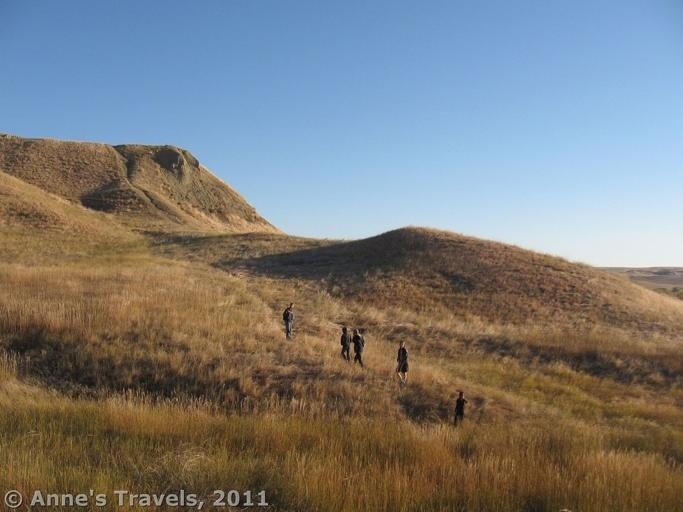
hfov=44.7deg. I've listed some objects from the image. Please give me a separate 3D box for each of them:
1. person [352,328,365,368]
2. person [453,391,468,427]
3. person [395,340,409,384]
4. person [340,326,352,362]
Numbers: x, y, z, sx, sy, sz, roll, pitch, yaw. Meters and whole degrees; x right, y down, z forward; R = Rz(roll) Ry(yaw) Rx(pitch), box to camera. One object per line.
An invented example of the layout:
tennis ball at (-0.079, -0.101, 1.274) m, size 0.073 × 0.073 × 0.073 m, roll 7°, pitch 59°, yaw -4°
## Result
person at (0.872, 4.417, 41.084) m, size 0.648 × 1.529 × 1.140 m, roll 4°, pitch 2°, yaw 1°
person at (5.498, 6.925, 38.283) m, size 0.496 × 1.409 × 0.938 m, roll 4°, pitch 2°, yaw 7°
person at (3.019, 5.042, 40.097) m, size 0.630 × 1.767 × 0.971 m, roll 4°, pitch 2°, yaw 4°
person at (0.307, 4.290, 41.892) m, size 0.532 × 1.413 × 2.131 m, roll 4°, pitch 2°, yaw 0°
